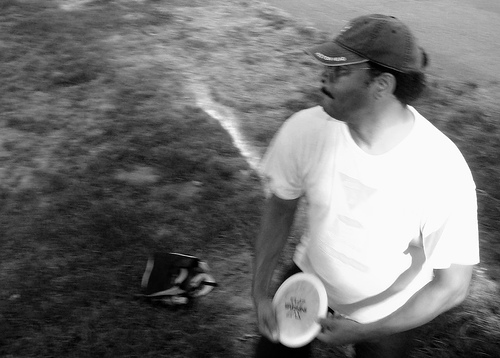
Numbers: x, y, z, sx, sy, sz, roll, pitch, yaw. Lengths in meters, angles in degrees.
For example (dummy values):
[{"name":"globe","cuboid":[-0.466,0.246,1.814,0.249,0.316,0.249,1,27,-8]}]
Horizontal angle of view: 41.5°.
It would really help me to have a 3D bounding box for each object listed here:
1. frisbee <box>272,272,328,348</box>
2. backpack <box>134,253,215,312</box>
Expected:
[{"name":"frisbee","cuboid":[0.219,0.544,2.828,0.077,0.313,0.304,22,30,-35]},{"name":"backpack","cuboid":[-0.415,0.578,3.744,0.418,0.168,0.316,13,55,2]}]
